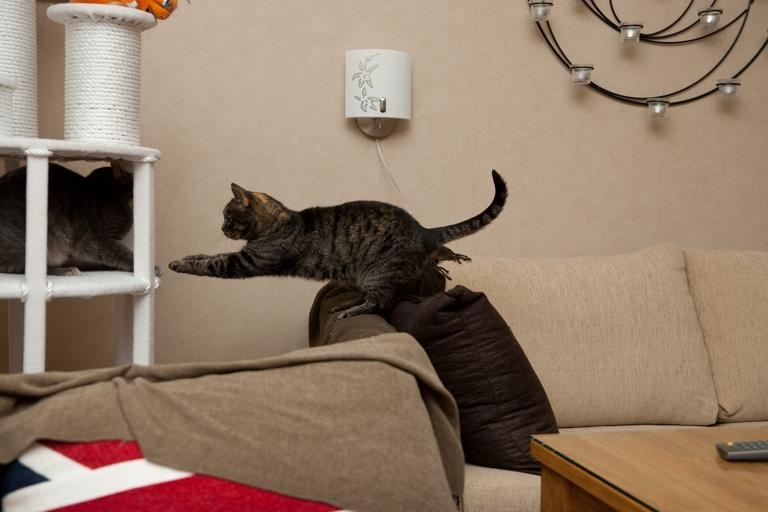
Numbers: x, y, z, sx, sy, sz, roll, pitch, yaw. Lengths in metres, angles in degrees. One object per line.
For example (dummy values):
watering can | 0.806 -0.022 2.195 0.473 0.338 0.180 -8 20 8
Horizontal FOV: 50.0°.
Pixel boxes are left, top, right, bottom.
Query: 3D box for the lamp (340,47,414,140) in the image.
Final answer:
lamp | -0.014 -0.677 3.433 0.268 0.360 0.241 -1 15 -6

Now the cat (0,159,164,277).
cat | -0.974 -0.120 2.857 0.660 0.477 0.257 0 1 -39

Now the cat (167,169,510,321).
cat | -0.135 -0.104 3.058 1.251 0.676 0.486 8 -4 -2
